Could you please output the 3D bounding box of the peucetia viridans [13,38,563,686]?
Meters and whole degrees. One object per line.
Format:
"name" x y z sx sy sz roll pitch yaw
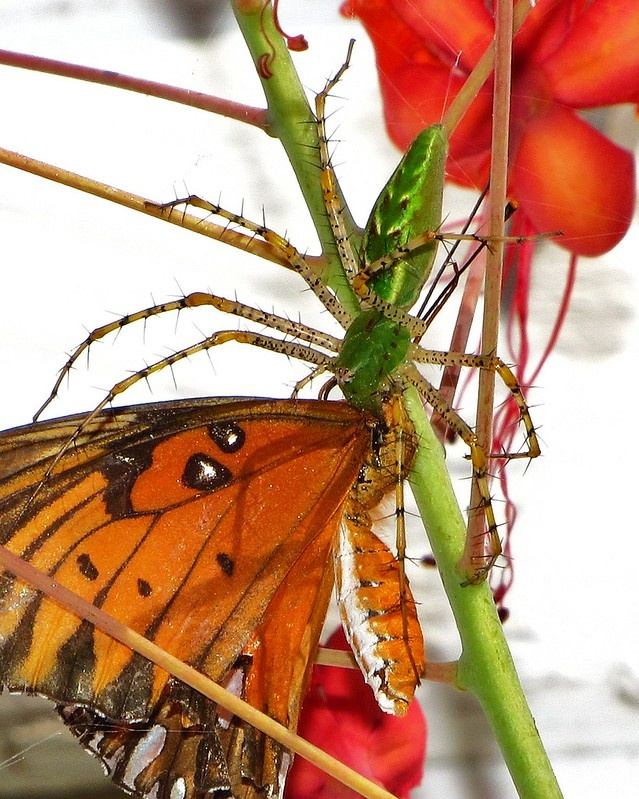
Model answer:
"peucetia viridans" 0.043 -0.048 0.825 0.381 0.497 0.149 -2 -9 20
